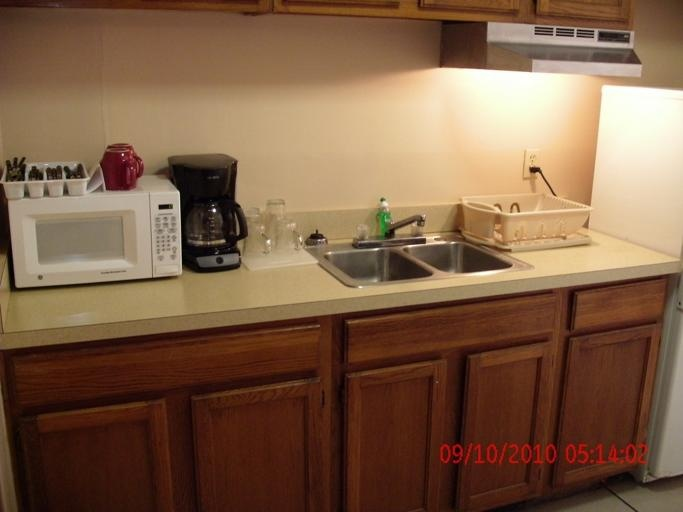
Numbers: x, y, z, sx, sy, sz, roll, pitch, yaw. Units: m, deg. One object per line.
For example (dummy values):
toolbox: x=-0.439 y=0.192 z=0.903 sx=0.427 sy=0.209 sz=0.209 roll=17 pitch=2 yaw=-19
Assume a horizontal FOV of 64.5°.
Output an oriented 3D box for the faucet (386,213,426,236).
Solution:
faucet: x=0.291 y=-0.137 z=2.420 sx=0.156 sy=0.100 sz=0.123 roll=-9 pitch=15 yaw=-22

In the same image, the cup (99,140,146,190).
cup: x=-0.778 y=-0.315 z=1.911 sx=0.133 sy=0.155 sz=0.175 roll=-8 pitch=17 yaw=-41

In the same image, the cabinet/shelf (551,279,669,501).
cabinet/shelf: x=1.082 y=0.493 z=2.505 sx=0.517 sy=0.986 sz=0.490 roll=-3 pitch=19 yaw=0

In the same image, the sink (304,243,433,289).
sink: x=0.080 y=0.039 z=2.325 sx=0.291 sy=0.117 sz=0.242 roll=-7 pitch=33 yaw=-23
